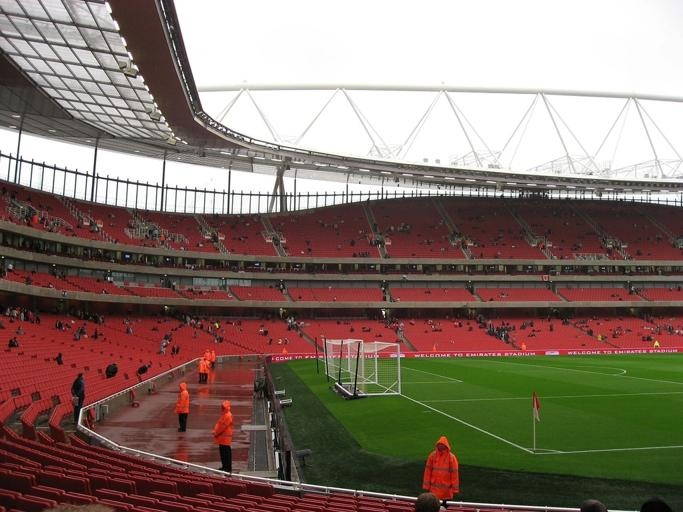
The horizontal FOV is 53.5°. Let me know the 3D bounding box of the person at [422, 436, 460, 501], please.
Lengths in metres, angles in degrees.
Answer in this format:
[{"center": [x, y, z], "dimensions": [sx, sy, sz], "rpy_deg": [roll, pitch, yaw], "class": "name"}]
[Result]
[{"center": [3.290, 7.064, 22.450], "dimensions": [1.115, 2.035, 1.255], "rpy_deg": [5, -26, -6], "class": "person"}]
